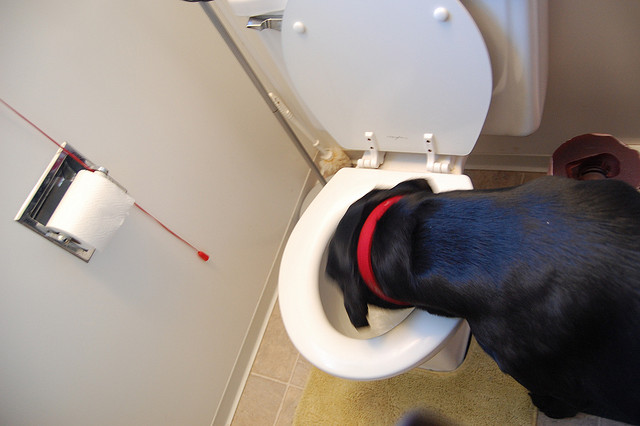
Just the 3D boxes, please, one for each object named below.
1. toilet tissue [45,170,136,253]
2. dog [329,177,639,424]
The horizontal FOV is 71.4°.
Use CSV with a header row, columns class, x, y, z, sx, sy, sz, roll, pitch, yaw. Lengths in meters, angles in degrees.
class,x,y,z,sx,sy,sz,roll,pitch,yaw
toilet tissue,-0.607,-0.003,1.176,0.111,0.143,0.189,18,61,33
dog,0.325,0.122,1.105,0.726,0.457,0.396,6,63,35
